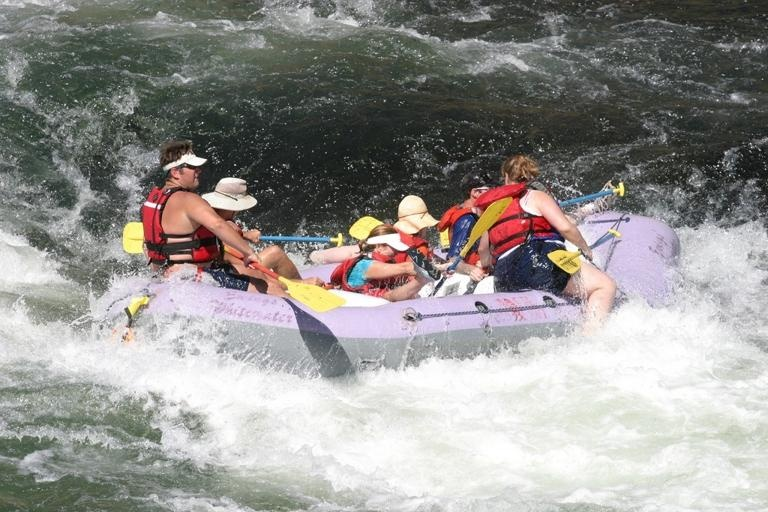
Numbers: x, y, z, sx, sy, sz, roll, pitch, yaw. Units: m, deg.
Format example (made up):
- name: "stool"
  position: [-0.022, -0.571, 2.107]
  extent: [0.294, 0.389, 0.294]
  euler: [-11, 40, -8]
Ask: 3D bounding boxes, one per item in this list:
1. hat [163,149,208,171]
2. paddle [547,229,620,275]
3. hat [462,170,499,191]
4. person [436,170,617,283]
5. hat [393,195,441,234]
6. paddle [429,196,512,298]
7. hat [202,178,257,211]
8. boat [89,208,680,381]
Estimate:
- name: "hat"
  position: [-2.228, -1.059, 11.736]
  extent: [0.418, 0.103, 0.234]
  euler: [-15, 5, 4]
- name: "paddle"
  position: [2.454, -0.069, 12.480]
  extent: [0.410, 0.114, 1.541]
  euler: [39, 36, 23]
- name: "hat"
  position: [1.161, -0.906, 12.617]
  extent: [0.349, 0.209, 0.262]
  euler: [16, 3, 12]
- name: "person"
  position: [1.491, -0.523, 12.843]
  extent: [1.227, 2.019, 0.409]
  euler: [40, -3, 29]
- name: "hat"
  position: [0.344, -0.497, 12.527]
  extent: [0.553, 0.275, 0.487]
  euler: [-11, 16, -17]
- name: "paddle"
  position: [1.058, -0.075, 12.350]
  extent: [0.251, 1.706, 0.166]
  euler: [22, 33, -44]
- name: "hat"
  position: [-1.752, -0.701, 11.973]
  extent: [0.500, 0.175, 0.459]
  euler: [-12, 36, -33]
- name: "boat"
  position: [0.784, 0.599, 11.922]
  extent: [4.795, 0.660, 2.487]
  euler: [-11, 30, -18]
